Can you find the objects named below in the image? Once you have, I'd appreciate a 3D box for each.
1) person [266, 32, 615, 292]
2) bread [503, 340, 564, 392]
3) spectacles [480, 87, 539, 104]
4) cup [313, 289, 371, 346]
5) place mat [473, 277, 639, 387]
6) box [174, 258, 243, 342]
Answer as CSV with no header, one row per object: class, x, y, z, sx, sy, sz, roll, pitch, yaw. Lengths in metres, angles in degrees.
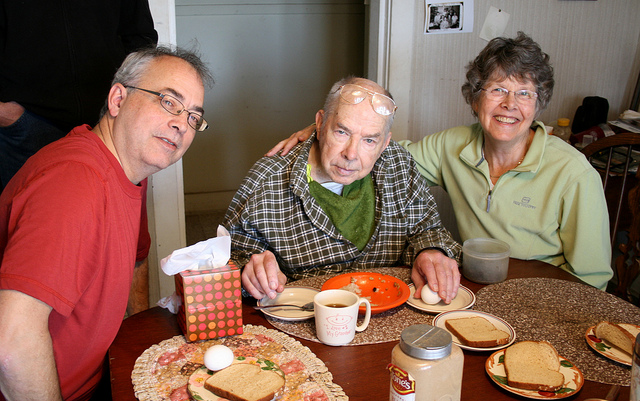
person,0.800,-0.103,2.248,1.487,1.218,0.752,10,34,24
bread,0.658,0.498,1.335,0.165,0.036,0.179,3,25,13
spectacles,0.944,-0.512,2.124,0.260,0.074,0.067,4,25,15
cup,0.081,0.391,1.464,0.180,0.144,0.143,4,10,-1
place mat,0.872,0.466,1.580,0.328,0.018,0.356,12,26,6
box,-0.362,0.303,1.505,0.226,0.236,0.229,-11,29,-26
